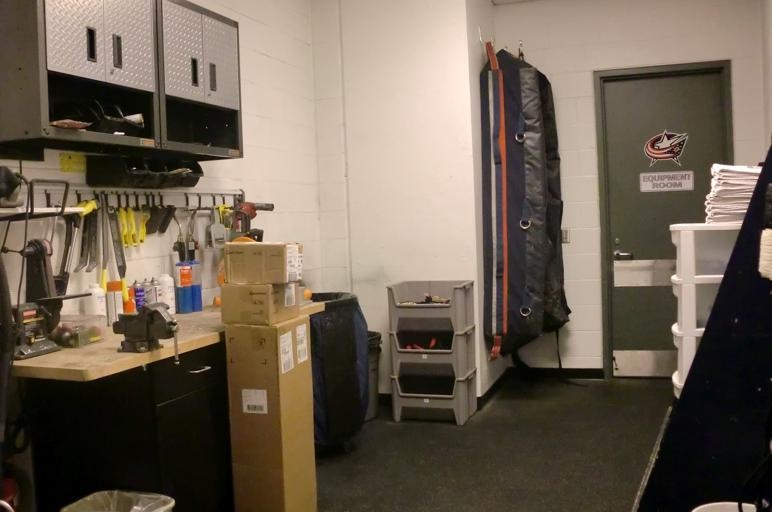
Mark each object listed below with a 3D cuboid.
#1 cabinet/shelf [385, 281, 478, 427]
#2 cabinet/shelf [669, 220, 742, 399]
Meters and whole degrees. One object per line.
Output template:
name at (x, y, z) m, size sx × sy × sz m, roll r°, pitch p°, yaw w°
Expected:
cabinet/shelf at (0.376, 0.734, 4.859) m, size 0.678 × 1.090 × 0.471 m, roll -1°, pitch 11°, yaw 9°
cabinet/shelf at (1.645, 0.295, 3.181) m, size 0.317 × 0.935 × 0.381 m, roll 4°, pitch 12°, yaw 29°
